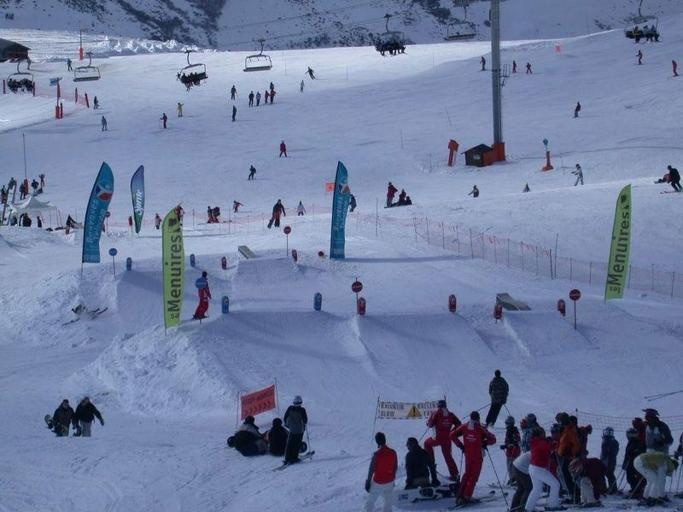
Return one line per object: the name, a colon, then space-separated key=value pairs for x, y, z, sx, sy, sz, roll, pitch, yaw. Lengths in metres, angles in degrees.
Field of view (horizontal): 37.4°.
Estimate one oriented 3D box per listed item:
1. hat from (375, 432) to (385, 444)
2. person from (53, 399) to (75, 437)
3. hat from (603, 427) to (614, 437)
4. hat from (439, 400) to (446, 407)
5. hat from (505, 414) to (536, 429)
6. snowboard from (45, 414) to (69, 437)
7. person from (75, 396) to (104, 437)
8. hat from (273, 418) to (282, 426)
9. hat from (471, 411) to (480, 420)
hat: x=1.221 y=5.770 z=32.544 sx=0.262 sy=0.400 sz=0.371 roll=2 pitch=3 yaw=14
person: x=-10.015 y=5.931 z=36.384 sx=0.721 sy=1.839 sz=0.607 roll=-1 pitch=26 yaw=-23
hat: x=8.846 y=5.709 z=33.315 sx=0.300 sy=0.324 sz=0.272 roll=3 pitch=-7 yaw=-20
hat: x=3.365 y=4.812 z=33.683 sx=0.184 sy=0.252 sz=0.257 roll=12 pitch=28 yaw=4
hat: x=5.970 y=5.452 z=33.671 sx=0.806 sy=0.391 sz=0.536 roll=-4 pitch=-2 yaw=4
snowboard: x=-10.213 y=5.982 z=36.235 sx=0.400 sy=0.846 sz=0.292 roll=-23 pitch=-7 yaw=-14
person: x=-9.156 y=5.759 z=36.540 sx=0.930 sy=1.599 sz=0.550 roll=7 pitch=37 yaw=-4
hat: x=-2.229 y=5.641 z=34.942 sx=0.230 sy=0.240 sz=0.236 roll=4 pitch=4 yaw=40
hat: x=4.363 y=5.111 z=32.967 sx=0.228 sy=0.313 sz=0.307 roll=10 pitch=12 yaw=36
